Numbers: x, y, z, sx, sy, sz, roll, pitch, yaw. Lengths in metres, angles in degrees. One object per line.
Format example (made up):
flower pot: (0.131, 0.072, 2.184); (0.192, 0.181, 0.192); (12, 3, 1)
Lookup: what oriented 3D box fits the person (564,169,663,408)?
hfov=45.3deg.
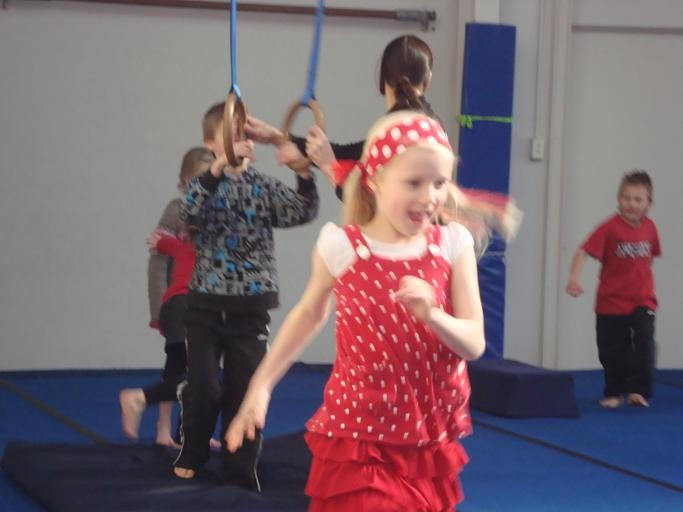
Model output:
person: (1.664, 0.211, 4.978); (0.537, 1.377, 0.458); (3, 11, 10)
